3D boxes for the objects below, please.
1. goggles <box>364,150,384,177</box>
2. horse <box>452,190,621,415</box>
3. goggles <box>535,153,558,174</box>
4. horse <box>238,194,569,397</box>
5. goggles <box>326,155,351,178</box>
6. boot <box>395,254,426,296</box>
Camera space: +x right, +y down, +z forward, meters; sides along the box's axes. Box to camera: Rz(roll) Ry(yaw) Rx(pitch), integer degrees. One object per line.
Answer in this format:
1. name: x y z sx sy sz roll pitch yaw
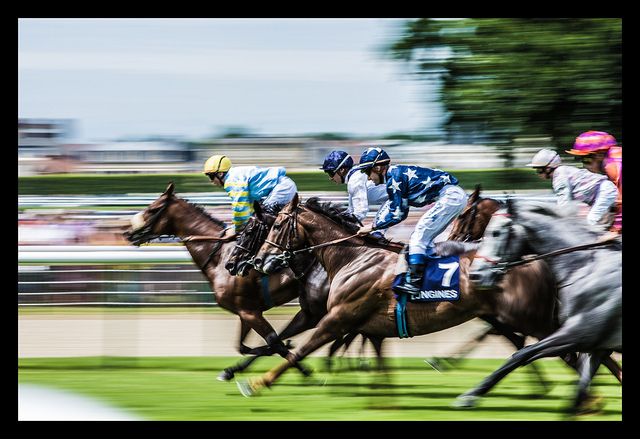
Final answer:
1. goggles: 0.510 -0.528 10.466 0.160 0.261 0.081 1 16 2
2. horse: 2.031 0.828 10.014 1.346 2.006 0.724 2 16 7
3. goggles: 2.249 -0.558 11.168 0.211 0.209 0.101 8 17 30
4. horse: 1.154 0.773 10.324 4.623 1.635 1.037 3 6 44
5. goggles: 0.193 -0.541 11.274 0.214 0.240 0.123 2 15 6
6. boot: 0.847 0.504 10.106 0.185 0.375 0.220 12 19 37
